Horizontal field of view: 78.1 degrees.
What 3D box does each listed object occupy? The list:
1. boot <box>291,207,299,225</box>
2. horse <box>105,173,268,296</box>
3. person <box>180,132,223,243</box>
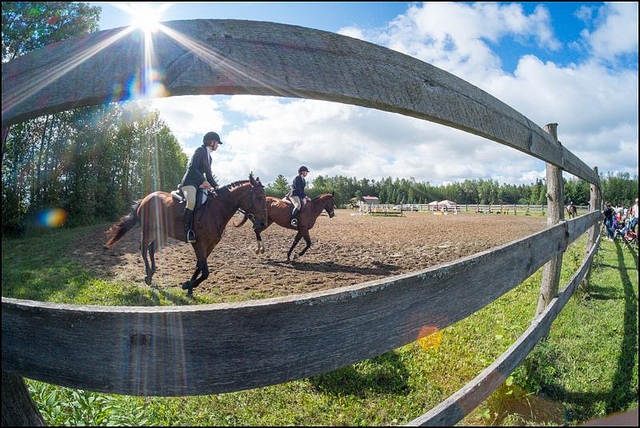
[{"bbox_3d":[-0.642,0.008,10.227,0.118,0.520,0.293,6,2,19],"label":"boot"},{"bbox_3d":[-2.593,0.407,7.325,3.124,2.269,0.818,4,-4,5],"label":"horse"},{"bbox_3d":[-1.993,-0.471,6.687,0.712,1.855,1.358,-4,6,-17],"label":"person"}]
